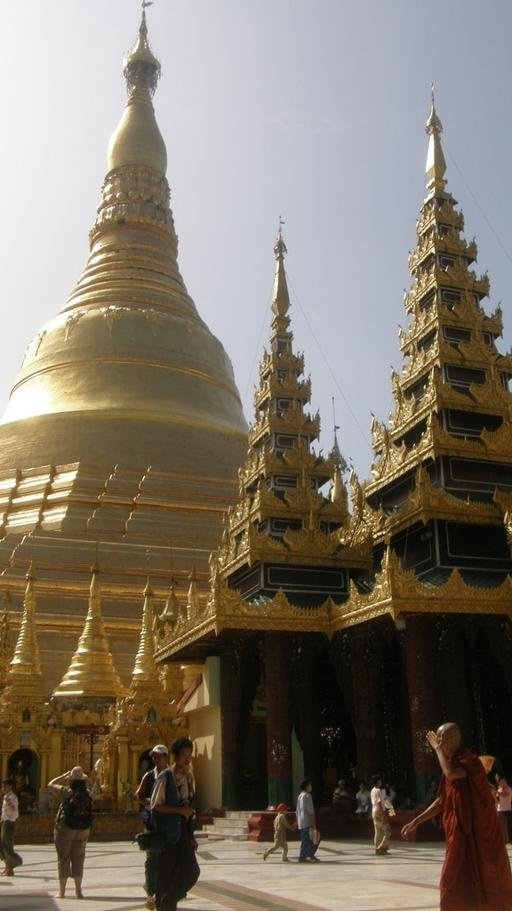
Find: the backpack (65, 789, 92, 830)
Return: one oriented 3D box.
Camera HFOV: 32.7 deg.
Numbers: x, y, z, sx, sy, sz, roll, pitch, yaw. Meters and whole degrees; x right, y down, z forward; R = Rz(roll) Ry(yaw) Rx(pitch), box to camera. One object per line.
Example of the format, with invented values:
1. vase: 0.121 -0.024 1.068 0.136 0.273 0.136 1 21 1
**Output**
1. backpack: -1.491 2.967 7.321 0.234 0.333 0.179 15 -41 -30
